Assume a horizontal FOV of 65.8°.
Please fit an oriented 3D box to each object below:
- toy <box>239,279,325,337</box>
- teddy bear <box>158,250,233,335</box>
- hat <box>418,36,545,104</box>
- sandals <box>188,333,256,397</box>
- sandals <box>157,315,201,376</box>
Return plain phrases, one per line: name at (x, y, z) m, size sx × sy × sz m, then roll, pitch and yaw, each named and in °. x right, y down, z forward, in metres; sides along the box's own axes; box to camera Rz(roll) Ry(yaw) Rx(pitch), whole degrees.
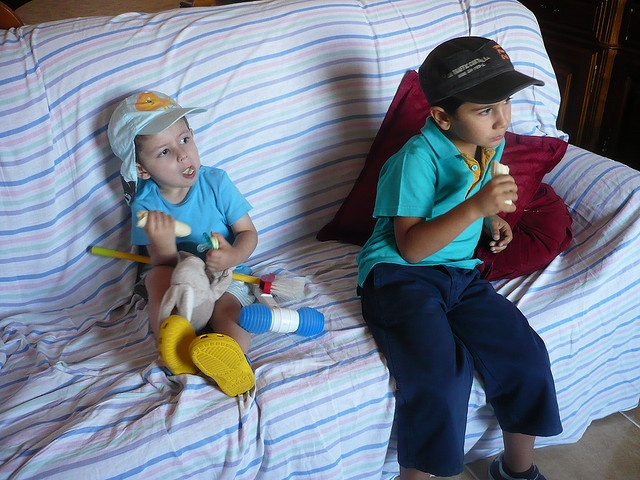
toy at (-0.119, 0.188, 1.447) m, size 0.238 × 0.130 × 0.265 m, roll -5°, pitch 21°, yaw -12°
teddy bear at (-0.339, 0.147, 1.378) m, size 0.130 × 0.163 × 0.200 m, roll 5°, pitch 22°, yaw 13°
hat at (0.414, -0.441, 1.316) m, size 0.284 × 0.126 × 0.196 m, roll 7°, pitch 30°, yaw 40°
sandals at (-0.230, 0.300, 1.248) m, size 0.114 × 0.176 × 0.074 m, roll -27°, pitch 26°, yaw 9°
sandals at (-0.363, 0.264, 1.271) m, size 0.106 × 0.147 × 0.048 m, roll -15°, pitch 13°, yaw -33°
